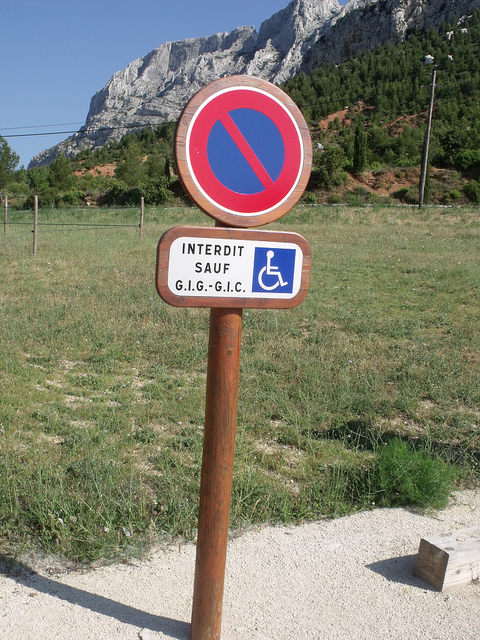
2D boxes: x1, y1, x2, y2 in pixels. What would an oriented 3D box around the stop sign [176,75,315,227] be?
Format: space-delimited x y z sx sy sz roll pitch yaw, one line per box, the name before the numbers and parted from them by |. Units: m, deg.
stop sign | 0.021 -0.738 3.012 0.605 0.650 0.253 0 8 -9
